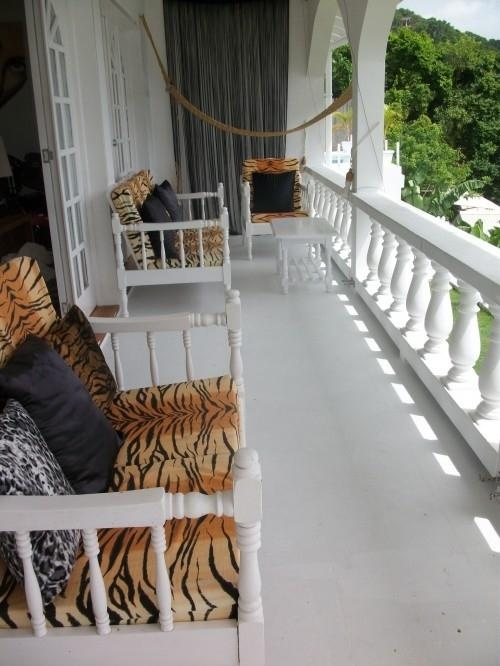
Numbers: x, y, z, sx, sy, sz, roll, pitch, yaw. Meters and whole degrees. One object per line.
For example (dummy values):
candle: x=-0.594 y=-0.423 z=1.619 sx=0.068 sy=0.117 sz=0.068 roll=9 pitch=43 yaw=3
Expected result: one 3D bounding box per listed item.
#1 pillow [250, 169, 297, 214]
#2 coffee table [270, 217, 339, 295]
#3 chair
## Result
pillow: x=0.254 y=-1.639 z=5.464 sx=0.612 sy=0.614 sz=0.192 roll=0 pitch=-4 yaw=4
coffee table: x=0.501 y=-0.783 z=4.435 sx=0.552 sy=0.601 sz=0.951 roll=-1 pitch=30 yaw=0
chair: x=0.252 y=-1.380 z=5.499 sx=1.002 sy=1.491 sz=1.151 roll=-4 pitch=28 yaw=-3
